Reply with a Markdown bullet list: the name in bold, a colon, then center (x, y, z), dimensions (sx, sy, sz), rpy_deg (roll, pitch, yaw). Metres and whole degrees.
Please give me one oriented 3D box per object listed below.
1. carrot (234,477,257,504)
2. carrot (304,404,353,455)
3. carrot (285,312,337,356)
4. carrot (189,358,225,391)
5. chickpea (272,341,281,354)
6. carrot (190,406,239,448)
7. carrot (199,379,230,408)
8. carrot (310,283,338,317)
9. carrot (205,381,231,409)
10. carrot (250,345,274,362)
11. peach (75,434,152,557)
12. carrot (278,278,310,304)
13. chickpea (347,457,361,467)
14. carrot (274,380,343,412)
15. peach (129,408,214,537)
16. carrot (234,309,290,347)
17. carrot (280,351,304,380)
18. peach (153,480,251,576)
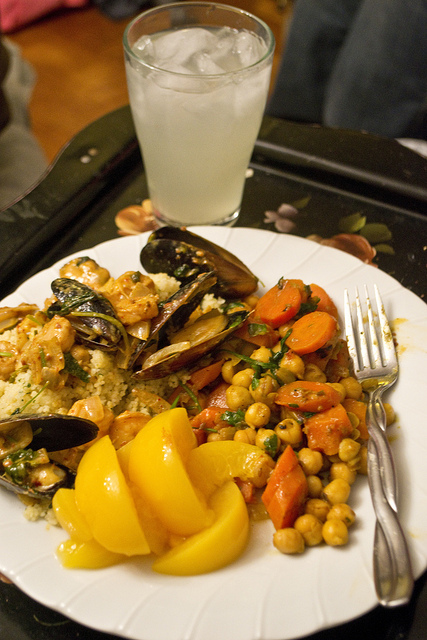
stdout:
- **carrot**: center (0.058, 0.298, 0.966), dimensions (0.035, 0.012, 0.046), rpy_deg (-8, 56, -2)
- **carrot**: center (0.219, 0.192, 0.990), dimensions (0.084, 0.035, 0.079), rpy_deg (-29, 61, 10)
- **carrot**: center (0.197, 0.031, 1.108), dimensions (0.119, 0.051, 0.068), rpy_deg (-12, 24, -38)
- **carrot**: center (-0.015, 0.115, 1.133), dimensions (0.064, 0.047, 0.015), rpy_deg (-38, 61, -6)
- **chickpea**: center (0.132, 0.056, 1.147), dimensions (0.017, 0.023, 0.017), rpy_deg (6, 29, 14)
- **carrot**: center (0.003, 0.220, 1.096), dimensions (0.079, 0.031, 0.060), rpy_deg (-34, 38, -21)
- **carrot**: center (0.006, 0.155, 1.146), dimensions (0.051, 0.020, 0.048), rpy_deg (-31, 37, 2)
- **carrot**: center (0.230, -0.043, 1.227), dimensions (0.072, 0.019, 0.057), rpy_deg (54, 30, 8)
- **carrot**: center (0.016, 0.158, 1.141), dimensions (0.049, 0.018, 0.047), rpy_deg (-26, 32, 0)
- **carrot**: center (0.099, 0.070, 1.113), dimensions (0.028, 0.019, 0.032), rpy_deg (6, 42, 18)
- **peach**: center (-0.178, 0.279, 0.875), dimensions (0.085, 0.057, 0.210), rpy_deg (-20, 58, -16)
- **carrot**: center (0.175, -0.053, 1.200), dimensions (0.055, 0.016, 0.057), rpy_deg (-30, 25, 6)
- **chickpea**: center (0.247, 0.249, 0.970), dimensions (0.021, 0.012, 0.007), rpy_deg (-42, 24, 1)
- **carrot**: center (0.177, 0.141, 1.023), dimensions (0.099, 0.033, 0.057), rpy_deg (3, 63, 21)
- **peach**: center (-0.110, 0.278, 0.938), dimensions (0.164, 0.124, 0.290), rpy_deg (-2, 53, -14)
- **carrot**: center (0.110, 0.023, 1.154), dimensions (0.085, 0.030, 0.084), rpy_deg (22, 48, 20)
- **carrot**: center (0.156, 0.088, 1.073), dimensions (0.029, 0.050, 0.041), rpy_deg (-33, 68, 11)
- **peach**: center (0.003, 0.343, 0.881), dimensions (0.103, 0.074, 0.192), rpy_deg (33, 60, 19)
